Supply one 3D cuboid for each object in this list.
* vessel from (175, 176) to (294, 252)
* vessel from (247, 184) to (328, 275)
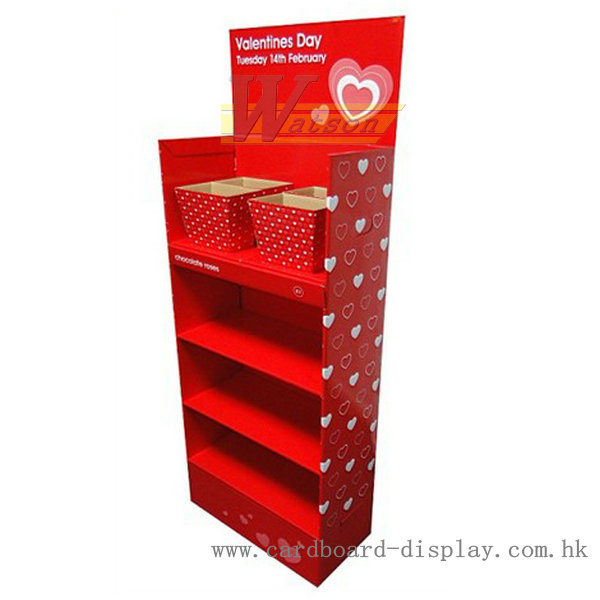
[{"bbox_3d":[-0.271,-0.409,2.395,0.309,0.252,0.422,15,24,35],"label":"vessel"},{"bbox_3d":[-0.023,-0.272,2.074,0.279,0.231,0.332,10,19,34],"label":"vessel"}]
